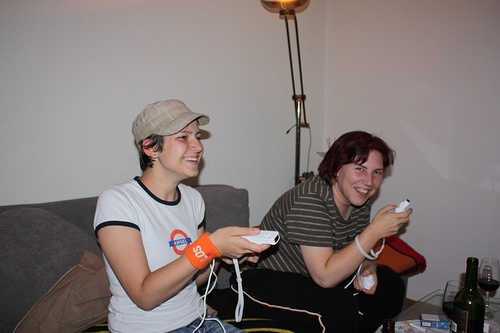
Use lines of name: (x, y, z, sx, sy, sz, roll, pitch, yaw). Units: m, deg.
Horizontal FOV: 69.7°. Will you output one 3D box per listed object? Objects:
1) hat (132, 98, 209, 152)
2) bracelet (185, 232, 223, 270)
hat: (-0.391, -0.185, 1.773, 0.288, 0.135, 0.225, -23, -4, 23)
bracelet: (-0.203, 0.370, 1.583, 0.160, 0.152, 0.049, 0, 4, -30)
